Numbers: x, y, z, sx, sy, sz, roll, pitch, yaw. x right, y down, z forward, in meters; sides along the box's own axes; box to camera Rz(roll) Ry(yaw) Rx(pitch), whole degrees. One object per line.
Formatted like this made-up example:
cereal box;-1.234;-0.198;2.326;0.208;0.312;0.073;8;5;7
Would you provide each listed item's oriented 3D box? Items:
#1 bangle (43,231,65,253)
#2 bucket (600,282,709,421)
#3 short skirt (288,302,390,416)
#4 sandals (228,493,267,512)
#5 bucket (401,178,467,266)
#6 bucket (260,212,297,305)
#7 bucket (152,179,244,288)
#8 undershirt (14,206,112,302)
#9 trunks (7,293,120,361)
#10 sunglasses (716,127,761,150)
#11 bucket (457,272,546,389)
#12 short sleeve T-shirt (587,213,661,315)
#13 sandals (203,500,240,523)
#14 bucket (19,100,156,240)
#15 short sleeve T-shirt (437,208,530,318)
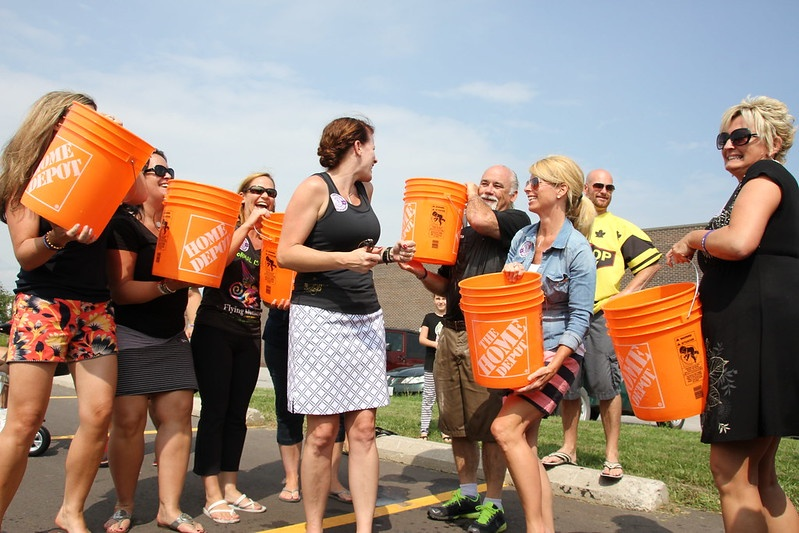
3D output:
bangle;-2.214;-0.149;3.944;0.122;0.061;0.152;21;-9;-8
bucket;1.607;0.541;3.869;0.594;0.868;0.347;0;-9;26
short skirt;-0.448;0.645;4.235;0.698;0.693;0.397;5;-13;-27
sandals;-1.242;1.933;4.983;0.283;0.106;0.124;1;-6;20
bucket;0.272;-0.349;4.878;0.523;0.592;0.524;7;-4;0
bucket;-0.951;-0.021;5.067;0.437;0.628;0.447;5;0;0
bucket;-1.527;-0.228;4.636;0.597;0.698;0.602;11;-4;1
undershirt;-2.214;-0.087;3.972;0.332;0.589;0.472;15;-3;36
trunks;-2.218;0.419;4.029;0.707;0.484;0.424;8;-19;-35
sunglasses;2.116;-0.801;3.856;0.219;0.145;0.150;-1;-9;30
bucket;0.727;0.461;4.296;0.572;0.680;0.593;-5;3;0
short sleeve T-shirt;1.994;-0.089;6.372;1.165;1.034;0.401;0;13;4
sandals;-1.370;1.903;4.739;0.263;0.114;0.138;-6;-11;44
bucket;-2.053;-0.595;4.096;0.598;0.671;0.594;24;-6;3
short sleeve T-shirt;0.643;-0.041;4.604;0.671;0.793;0.458;-12;-26;43
